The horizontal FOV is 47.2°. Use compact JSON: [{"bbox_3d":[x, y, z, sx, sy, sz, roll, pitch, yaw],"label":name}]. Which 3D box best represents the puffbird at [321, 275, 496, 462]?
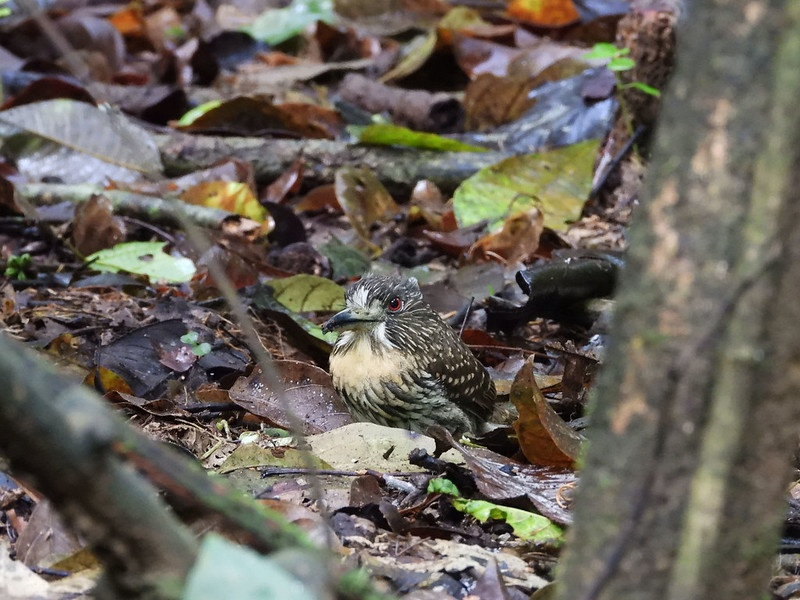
[{"bbox_3d":[0.009,0.262,3.631,0.556,0.630,0.544,19,31,30],"label":"puffbird"}]
